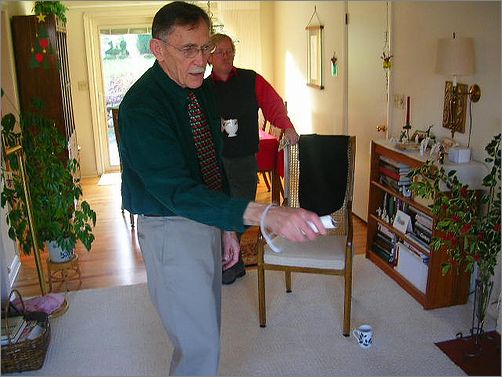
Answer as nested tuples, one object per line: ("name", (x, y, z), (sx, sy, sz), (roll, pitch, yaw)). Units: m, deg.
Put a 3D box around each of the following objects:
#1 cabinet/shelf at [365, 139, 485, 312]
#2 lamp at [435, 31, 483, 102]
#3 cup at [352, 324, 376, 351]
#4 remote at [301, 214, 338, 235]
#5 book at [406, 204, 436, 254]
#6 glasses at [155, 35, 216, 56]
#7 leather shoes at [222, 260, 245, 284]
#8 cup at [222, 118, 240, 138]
("cabinet/shelf", (1.320, 0.283, 3.013), (0.352, 1.249, 0.980), (-1, 18, -6))
("lamp", (1.512, -0.872, 2.904), (0.294, 0.500, 0.403), (8, 18, 36))
("cup", (0.751, 0.992, 2.674), (0.141, 0.153, 0.095), (0, 2, 4))
("remote", (0.236, 0.122, 1.347), (0.086, 0.071, 0.027), (-10, -9, -32))
("book", (1.315, 0.309, 3.131), (0.263, 0.091, 0.270), (24, 22, 27))
("glasses", (-0.246, -0.547, 1.561), (0.214, 0.077, 0.070), (-6, 15, -11))
("leather shoes", (-0.140, 0.726, 3.532), (0.097, 0.122, 0.270), (-16, 2, 26))
("cup", (-0.162, -0.510, 3.381), (0.120, 0.152, 0.133), (-5, 5, -2))
